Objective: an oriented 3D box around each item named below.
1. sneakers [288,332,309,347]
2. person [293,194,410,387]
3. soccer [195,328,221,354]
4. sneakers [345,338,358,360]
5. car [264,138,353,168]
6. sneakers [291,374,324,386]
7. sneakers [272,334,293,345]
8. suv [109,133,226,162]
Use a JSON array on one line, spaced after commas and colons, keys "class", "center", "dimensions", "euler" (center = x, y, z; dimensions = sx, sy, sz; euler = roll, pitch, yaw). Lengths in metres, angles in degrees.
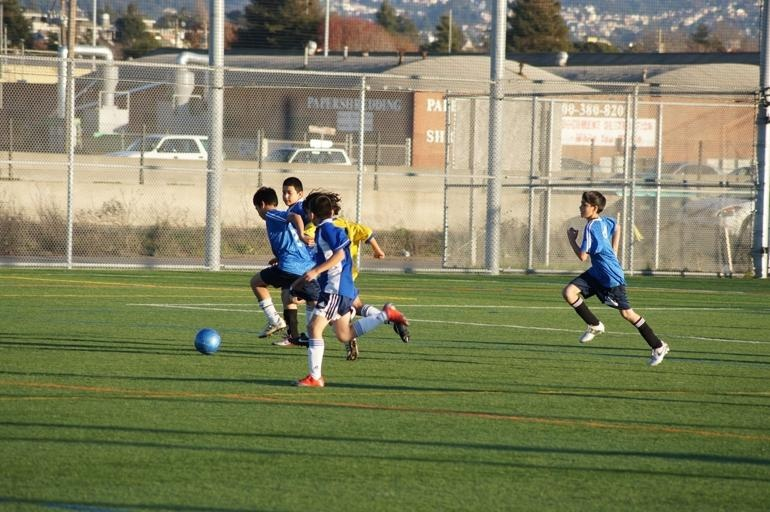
[{"class": "sneakers", "center": [-1.299, 1.280, 19.381], "dimensions": [0.506, 0.215, 0.174], "euler": [1, 1, 18]}, {"class": "person", "center": [-0.722, 0.430, 17.866], "dimensions": [0.809, 2.531, 1.487], "euler": [16, 20, 39]}, {"class": "soccer", "center": [-2.590, 1.258, 18.904], "dimensions": [0.357, 0.363, 0.306], "euler": [0, 15, -11]}, {"class": "sneakers", "center": [-0.454, 1.340, 18.366], "dimensions": [0.170, 0.366, 0.185], "euler": [-3, 5, -20]}, {"class": "car", "center": [-2.054, -2.723, 35.084], "dimensions": [2.093, 0.837, 1.102], "euler": [1, 6, -14]}, {"class": "sneakers", "center": [-1.013, 1.709, 17.631], "dimensions": [0.336, 0.116, 0.156], "euler": [3, -3, 3]}, {"class": "sneakers", "center": [-1.568, 1.302, 19.608], "dimensions": [0.334, 0.127, 0.126], "euler": [2, -2, 26]}, {"class": "suv", "center": [-5.719, -2.852, 34.238], "dimensions": [2.917, 1.069, 1.549], "euler": [1, 5, -15]}]
